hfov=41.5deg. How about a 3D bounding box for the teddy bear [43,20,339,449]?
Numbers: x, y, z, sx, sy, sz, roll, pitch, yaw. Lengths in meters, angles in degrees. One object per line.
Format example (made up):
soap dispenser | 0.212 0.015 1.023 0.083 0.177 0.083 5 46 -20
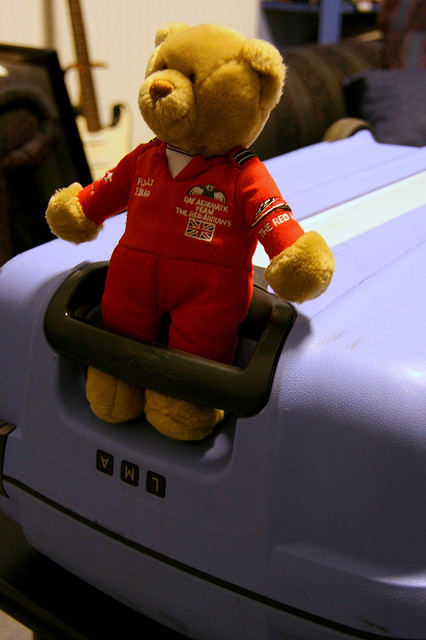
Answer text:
teddy bear | -0.036 -0.109 0.573 0.256 0.302 0.294 -14 44 -13
